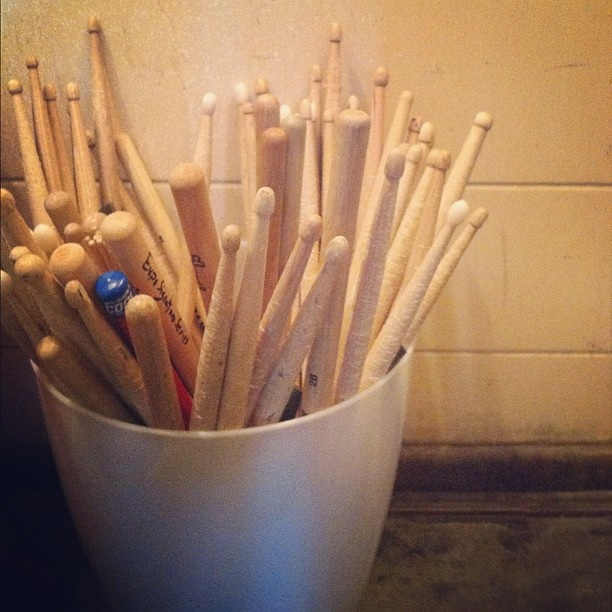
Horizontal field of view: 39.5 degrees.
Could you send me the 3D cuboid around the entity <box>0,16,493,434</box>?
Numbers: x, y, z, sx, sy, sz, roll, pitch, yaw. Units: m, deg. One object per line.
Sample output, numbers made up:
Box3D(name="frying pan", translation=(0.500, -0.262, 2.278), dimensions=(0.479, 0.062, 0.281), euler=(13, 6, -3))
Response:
Box3D(name="entity", translation=(-0.033, -0.039, 0.551), dimensions=(0.269, 0.259, 0.240), euler=(0, 19, 1))
